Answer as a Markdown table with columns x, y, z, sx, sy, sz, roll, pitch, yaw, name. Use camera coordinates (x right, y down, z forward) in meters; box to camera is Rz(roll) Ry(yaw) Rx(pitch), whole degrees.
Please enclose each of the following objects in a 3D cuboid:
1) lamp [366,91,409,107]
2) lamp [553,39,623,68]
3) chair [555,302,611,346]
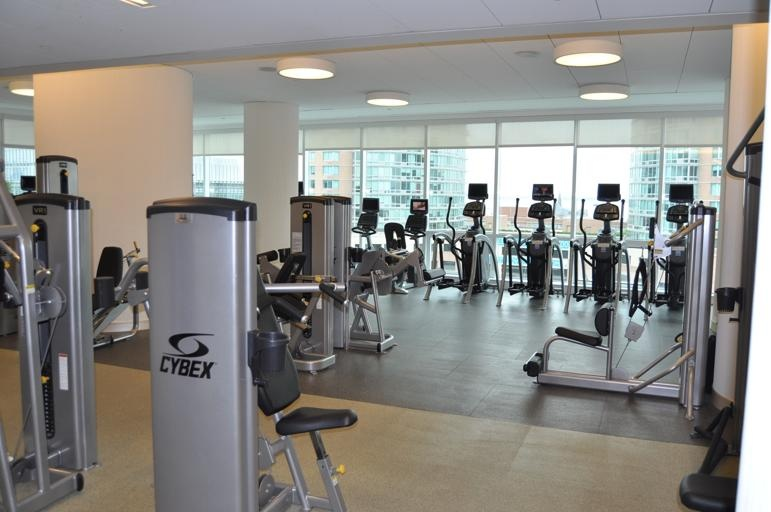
| x | y | z | sx | sy | sz | roll | pitch | yaw | name |
| --- | --- | --- | --- | --- | --- | --- | --- | --- | --- |
| 0.053 | -2.697 | 9.635 | 0.656 | 0.154 | 0.883 | 3 | 10 | 11 | lamp |
| 2.381 | -2.419 | 6.631 | 0.703 | 0.244 | 0.537 | -6 | 12 | -34 | lamp |
| 1.977 | 0.688 | 5.452 | 0.551 | 0.447 | 0.409 | 2 | 2 | 27 | chair |
